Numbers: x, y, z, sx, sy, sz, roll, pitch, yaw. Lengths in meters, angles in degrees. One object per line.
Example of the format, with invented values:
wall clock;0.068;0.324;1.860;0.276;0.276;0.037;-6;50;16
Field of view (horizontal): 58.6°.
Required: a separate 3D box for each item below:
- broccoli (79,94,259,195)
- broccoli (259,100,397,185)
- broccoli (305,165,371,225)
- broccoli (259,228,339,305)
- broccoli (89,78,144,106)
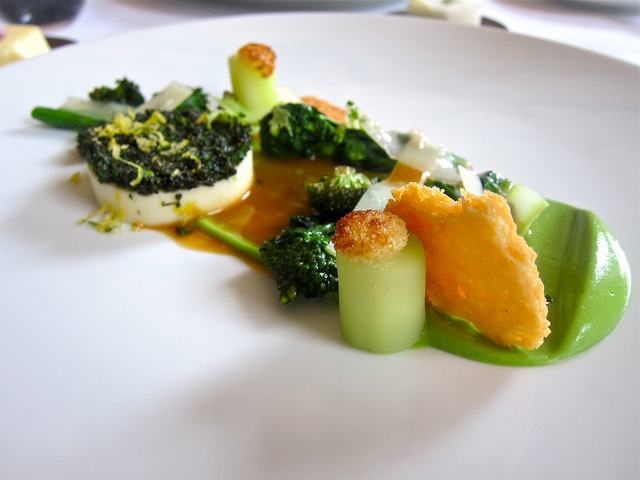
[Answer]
broccoli;-0.640;-0.367;2.322;0.510;0.137;0.467;-3;35;-7
broccoli;0.035;-0.447;2.568;0.535;0.232;0.388;-9;58;-3
broccoli;0.065;-0.177;2.247;0.212;0.171;0.254;-2;25;13
broccoli;-0.076;0.090;2.000;0.244;0.159;0.274;-5;38;-14
broccoli;-1.014;-0.746;2.861;0.287;0.086;0.136;15;38;12
